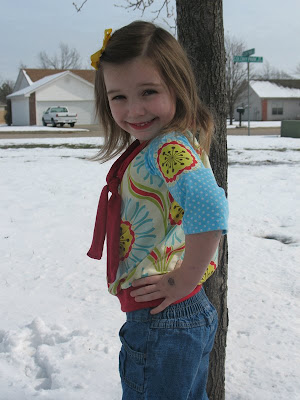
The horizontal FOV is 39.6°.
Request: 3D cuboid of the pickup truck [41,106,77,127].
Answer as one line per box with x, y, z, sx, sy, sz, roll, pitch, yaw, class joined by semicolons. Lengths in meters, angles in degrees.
-6.161;-5.710;28.593;1.594;1.094;2.877;-5;16;-26;pickup truck
